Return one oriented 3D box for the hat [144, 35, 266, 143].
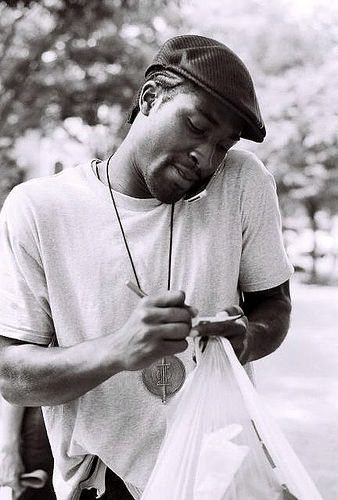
[{"bbox_3d":[0.098,-0.465,2.326,0.322,0.154,0.243,26,0,24],"label":"hat"}]
